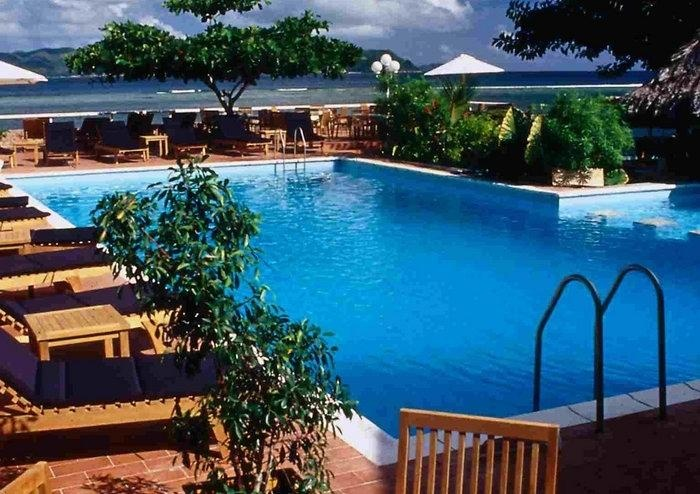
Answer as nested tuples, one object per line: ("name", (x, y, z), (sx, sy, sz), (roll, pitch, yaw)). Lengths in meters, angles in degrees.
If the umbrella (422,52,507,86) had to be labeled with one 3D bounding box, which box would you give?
("umbrella", (4.348, -6.876, 20.795), (2.644, 0.874, 4.646), (3, 17, 10))
